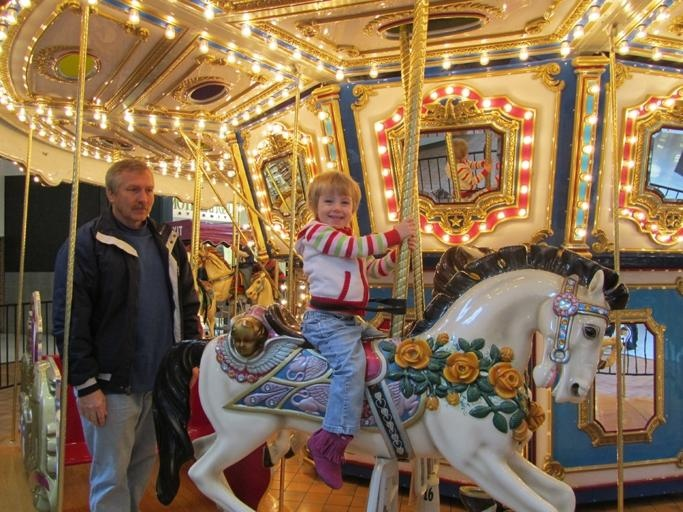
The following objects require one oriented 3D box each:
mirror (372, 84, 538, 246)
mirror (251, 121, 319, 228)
[{"bbox_3d":[0.890,-0.723,4.700,1.252,1.302,0.071,-2,-12,16],"label":"mirror"},{"bbox_3d":[-0.498,-0.771,5.298,0.980,1.273,0.062,15,27,40],"label":"mirror"}]
